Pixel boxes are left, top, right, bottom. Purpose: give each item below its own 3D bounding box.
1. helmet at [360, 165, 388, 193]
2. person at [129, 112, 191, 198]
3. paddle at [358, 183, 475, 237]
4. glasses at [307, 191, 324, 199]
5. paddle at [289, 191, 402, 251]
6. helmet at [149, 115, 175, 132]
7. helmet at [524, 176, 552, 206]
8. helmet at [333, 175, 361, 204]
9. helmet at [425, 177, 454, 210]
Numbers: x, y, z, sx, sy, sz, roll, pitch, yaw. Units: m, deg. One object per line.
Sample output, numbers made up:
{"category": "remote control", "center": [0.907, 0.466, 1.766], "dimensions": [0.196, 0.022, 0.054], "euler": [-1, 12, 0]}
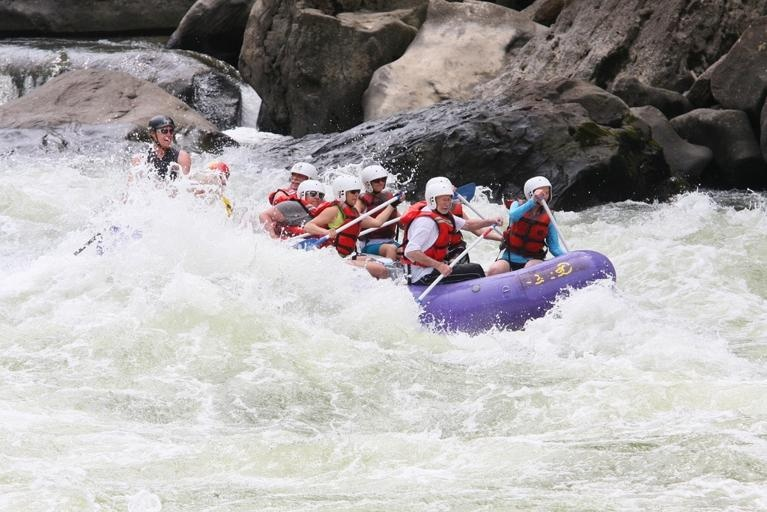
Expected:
{"category": "helmet", "center": [-0.159, -1.194, 17.634], "dimensions": [0.470, 0.307, 0.347], "euler": [3, 10, 38]}
{"category": "person", "center": [-3.395, -1.616, 17.848], "dimensions": [0.886, 1.025, 0.539], "euler": [9, 16, -10]}
{"category": "paddle", "center": [0.487, -0.645, 16.995], "dimensions": [1.958, 0.248, 0.411], "euler": [-17, 9, 16]}
{"category": "glasses", "center": [-1.015, -0.934, 17.736], "dimensions": [0.138, 0.036, 0.129], "euler": [12, -28, -29]}
{"category": "paddle", "center": [-0.542, -0.492, 17.336], "dimensions": [1.548, 0.299, 0.159], "euler": [-24, 58, -3]}
{"category": "helmet", "center": [-3.463, -2.031, 17.845], "dimensions": [0.285, 0.167, 0.328], "euler": [-6, 10, -38]}
{"category": "helmet", "center": [2.257, -0.966, 16.568], "dimensions": [0.375, 0.365, 0.446], "euler": [-4, 3, -28]}
{"category": "helmet", "center": [-0.575, -1.026, 17.392], "dimensions": [0.472, 0.301, 0.326], "euler": [2, 9, 28]}
{"category": "helmet", "center": [0.806, -0.931, 16.359], "dimensions": [0.402, 0.397, 0.475], "euler": [-6, 31, -24]}
